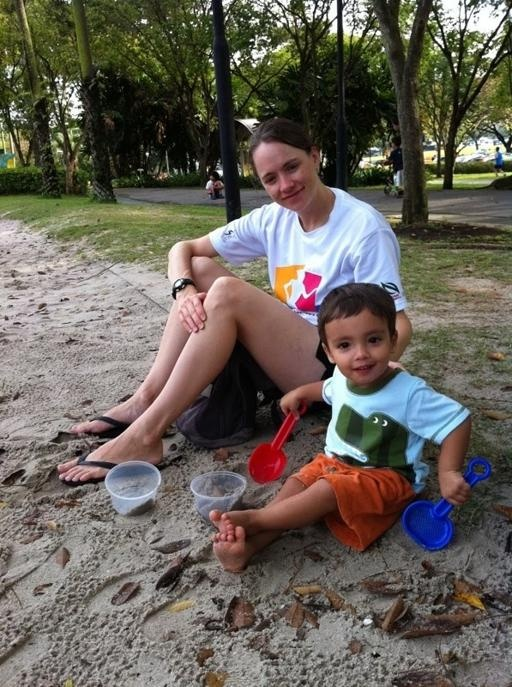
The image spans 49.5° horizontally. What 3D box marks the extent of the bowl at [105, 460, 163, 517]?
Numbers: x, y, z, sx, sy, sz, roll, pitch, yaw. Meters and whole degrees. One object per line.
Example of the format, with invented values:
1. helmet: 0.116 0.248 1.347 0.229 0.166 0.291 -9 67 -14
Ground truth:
1. bowl: -0.462 0.538 2.028 0.206 0.087 0.201 7 20 -2

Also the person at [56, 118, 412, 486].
1. person: -0.086 -0.231 2.330 1.370 1.273 0.940 -3 13 -3

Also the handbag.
1. handbag: -0.149 0.255 2.514 0.407 0.366 0.262 -2 21 -15

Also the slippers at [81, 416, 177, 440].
1. slippers: -0.569 0.380 2.492 0.389 0.078 0.137 6 13 -11

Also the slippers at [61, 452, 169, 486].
1. slippers: -0.565 0.491 2.173 0.361 0.071 0.150 3 3 -8
